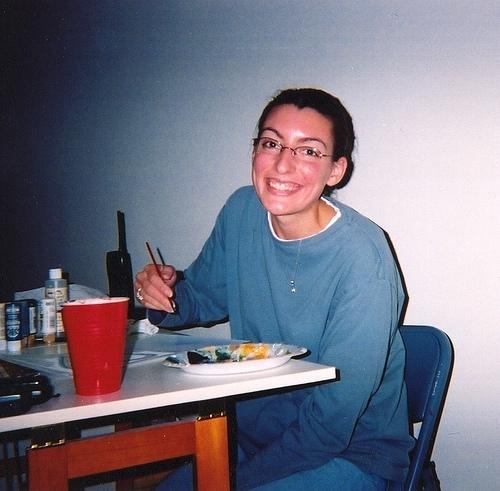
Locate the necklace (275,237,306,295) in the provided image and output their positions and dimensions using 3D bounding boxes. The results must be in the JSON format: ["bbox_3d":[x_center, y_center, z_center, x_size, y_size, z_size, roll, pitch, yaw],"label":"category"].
[{"bbox_3d":[0.118,0.059,1.426,0.050,0.154,0.060,5,5,-6],"label":"necklace"}]

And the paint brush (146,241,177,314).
[{"bbox_3d":[-0.255,0.093,1.435,0.028,0.299,0.022,-26,-24,8],"label":"paint brush"}]
